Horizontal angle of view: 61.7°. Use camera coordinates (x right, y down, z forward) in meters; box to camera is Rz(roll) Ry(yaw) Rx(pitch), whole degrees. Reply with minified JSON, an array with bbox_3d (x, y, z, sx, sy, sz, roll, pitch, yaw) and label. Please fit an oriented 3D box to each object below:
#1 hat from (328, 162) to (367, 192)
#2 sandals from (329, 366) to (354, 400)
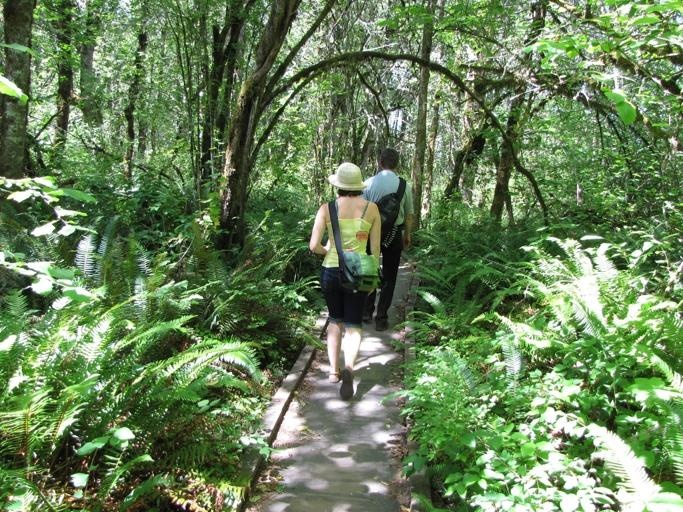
[{"bbox_3d":[0.066,-0.855,6.200,0.394,0.293,0.278,6,10,1],"label":"hat"},{"bbox_3d":[0.003,1.342,6.020,0.166,0.461,0.209,1,6,11],"label":"sandals"}]
